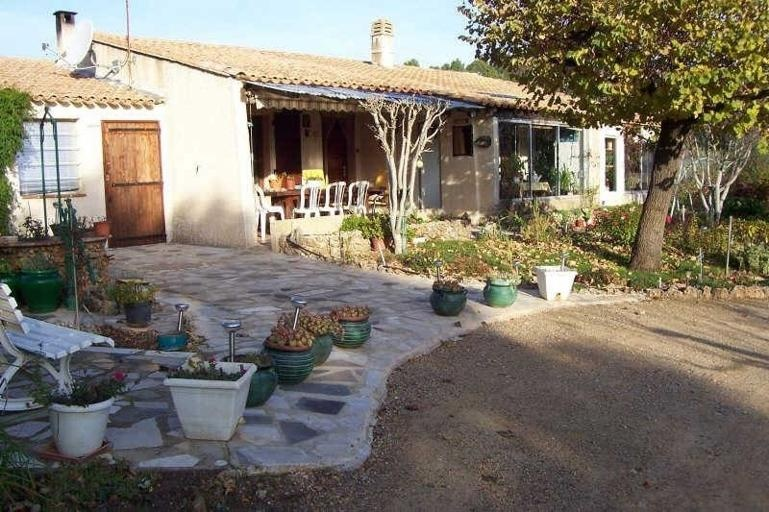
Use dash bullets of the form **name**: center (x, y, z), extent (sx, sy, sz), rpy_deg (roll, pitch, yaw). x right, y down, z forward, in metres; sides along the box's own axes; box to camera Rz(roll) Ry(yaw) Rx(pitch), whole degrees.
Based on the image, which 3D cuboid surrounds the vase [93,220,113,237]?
- **vase**: center (-6.073, -0.580, 12.192), extent (0.310, 0.310, 0.464), rpy_deg (-5, 16, -28)

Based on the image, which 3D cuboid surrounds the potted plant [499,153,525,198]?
- **potted plant**: center (4.222, -2.596, 18.544), extent (0.373, 1.385, 0.996), rpy_deg (6, 4, 43)

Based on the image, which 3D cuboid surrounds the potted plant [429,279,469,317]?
- **potted plant**: center (1.079, 0.718, 9.387), extent (0.666, 0.509, 0.614), rpy_deg (4, 11, 35)

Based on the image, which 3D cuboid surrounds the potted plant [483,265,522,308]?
- **potted plant**: center (2.129, 0.653, 10.036), extent (0.610, 0.802, 0.610), rpy_deg (-1, -8, 16)
